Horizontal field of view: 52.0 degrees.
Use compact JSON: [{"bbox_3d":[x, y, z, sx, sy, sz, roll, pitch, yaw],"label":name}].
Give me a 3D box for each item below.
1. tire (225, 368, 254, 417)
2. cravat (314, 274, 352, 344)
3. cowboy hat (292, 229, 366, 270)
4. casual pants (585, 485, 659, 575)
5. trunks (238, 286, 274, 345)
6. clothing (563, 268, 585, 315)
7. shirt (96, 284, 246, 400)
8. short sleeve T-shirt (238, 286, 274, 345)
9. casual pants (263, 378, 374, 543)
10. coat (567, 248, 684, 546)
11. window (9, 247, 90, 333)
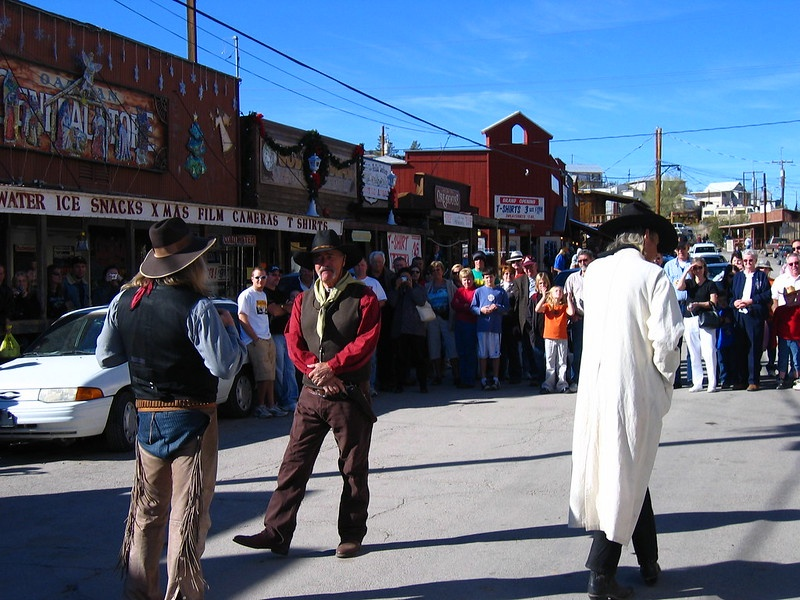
[{"bbox_3d":[-2.362,1.344,11.959,0.207,0.723,0.665,-2,2,7],"label":"tire"},{"bbox_3d":[-0.575,0.098,7.105,0.459,0.672,0.304,-7,-8,44],"label":"cravat"},{"bbox_3d":[-0.622,-0.453,7.304,0.362,0.187,0.447,-4,-11,3],"label":"cowboy hat"},{"bbox_3d":[1.705,1.783,6.364,0.670,0.954,0.258,-3,1,-39],"label":"casual pants"},{"bbox_3d":[-2.034,0.232,11.554,0.405,0.876,0.726,1,4,22],"label":"trunks"},{"bbox_3d":[2.784,-0.195,13.121,0.178,0.659,0.495,18,40,41],"label":"clothing"},{"bbox_3d":[-1.787,0.299,6.315,1.136,1.048,0.679,5,11,14],"label":"shirt"},{"bbox_3d":[-2.034,0.232,11.554,0.405,0.876,0.726,1,4,22],"label":"short sleeve T-shirt"},{"bbox_3d":[-0.703,1.273,7.075,0.886,1.934,0.504,3,26,-9],"label":"casual pants"},{"bbox_3d":[1.726,0.718,6.356,0.854,2.210,0.550,-1,3,19],"label":"coat"},{"bbox_3d":[-5.546,-0.139,12.942,1.185,0.956,0.684,0,-11,-25],"label":"window"}]
